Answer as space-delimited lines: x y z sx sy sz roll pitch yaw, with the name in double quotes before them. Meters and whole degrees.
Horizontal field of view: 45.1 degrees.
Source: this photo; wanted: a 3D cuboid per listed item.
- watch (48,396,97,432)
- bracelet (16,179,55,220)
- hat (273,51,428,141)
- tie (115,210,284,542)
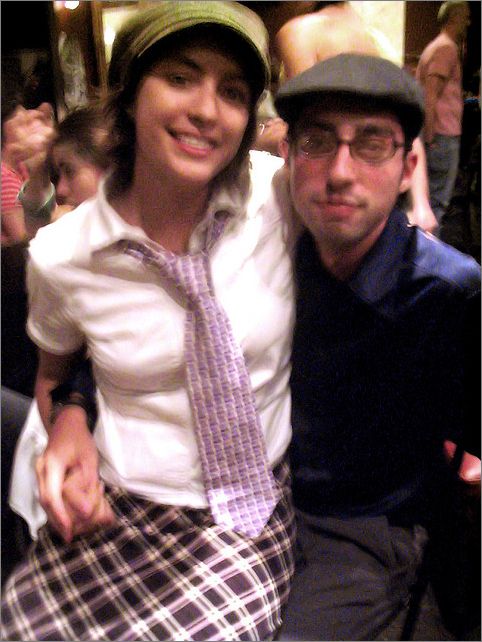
"watch" -0.280 0.145 0.985 0.043 0.083 0.075 7 -2 -3
"bracelet" -0.387 -0.220 1.109 0.064 0.093 0.075 -5 27 -11
"hat" 0.144 -0.300 0.795 0.208 0.121 0.100 5 23 19
"tie" -0.062 0.091 0.884 0.103 0.408 0.258 -19 27 -37
